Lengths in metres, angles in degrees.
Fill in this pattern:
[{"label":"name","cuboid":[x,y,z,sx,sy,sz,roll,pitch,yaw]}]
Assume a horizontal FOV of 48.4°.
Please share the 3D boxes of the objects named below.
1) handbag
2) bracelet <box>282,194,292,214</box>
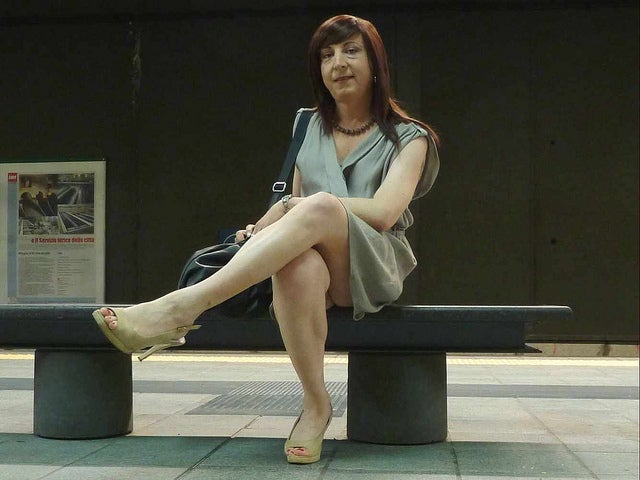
[{"label":"handbag","cuboid":[-0.550,0.221,4.077,0.479,0.217,0.404,-16,-29,8]},{"label":"bracelet","cuboid":[-0.181,-0.201,4.106,0.055,0.098,0.089,6,9,18]}]
